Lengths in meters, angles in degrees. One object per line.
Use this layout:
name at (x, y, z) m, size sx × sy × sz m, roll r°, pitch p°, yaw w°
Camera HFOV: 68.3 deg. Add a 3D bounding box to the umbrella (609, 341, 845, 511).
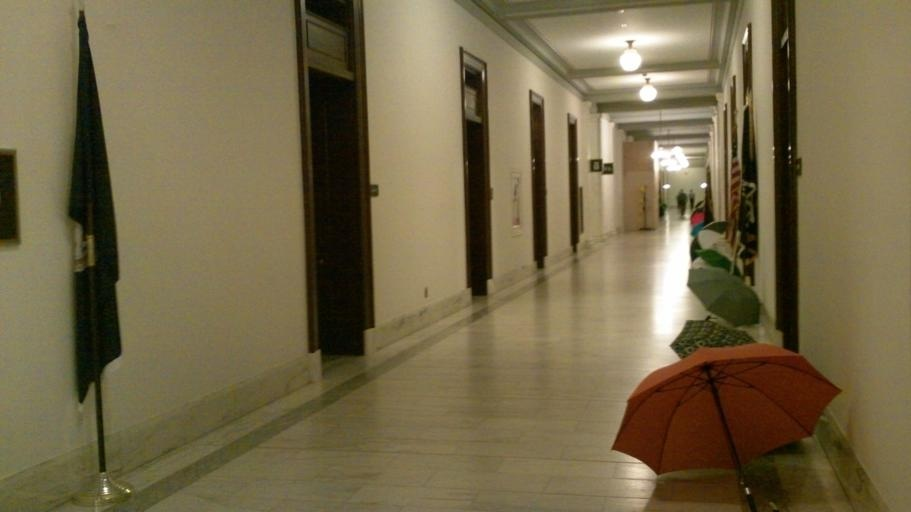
umbrella at (1.625, 0.994, 4.546) m, size 1.287 × 1.133 × 0.962 m, roll -5°, pitch 30°, yaw -5°
